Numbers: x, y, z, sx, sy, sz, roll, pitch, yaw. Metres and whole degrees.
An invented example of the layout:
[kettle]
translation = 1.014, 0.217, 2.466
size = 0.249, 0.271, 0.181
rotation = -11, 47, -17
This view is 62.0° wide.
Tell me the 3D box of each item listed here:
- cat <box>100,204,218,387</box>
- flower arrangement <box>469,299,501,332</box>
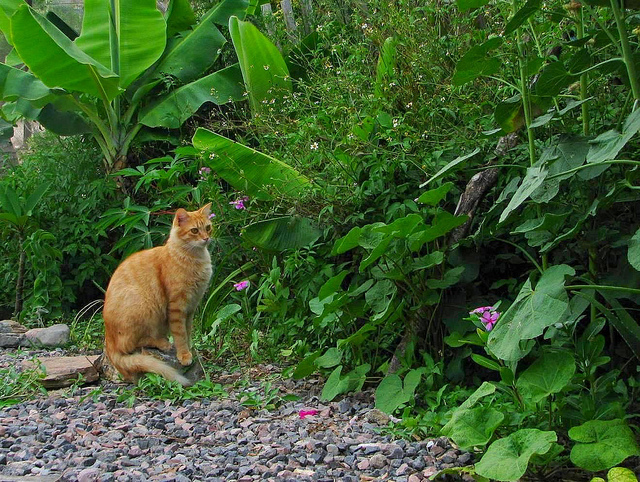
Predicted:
[cat]
translation = -1.151, 0.388, 3.878
size = 0.877, 1.173, 0.660
rotation = -8, 12, -20
[flower arrangement]
translation = 0.868, 0.393, 2.783
size = 0.151, 0.080, 0.148
rotation = -5, 0, 26
